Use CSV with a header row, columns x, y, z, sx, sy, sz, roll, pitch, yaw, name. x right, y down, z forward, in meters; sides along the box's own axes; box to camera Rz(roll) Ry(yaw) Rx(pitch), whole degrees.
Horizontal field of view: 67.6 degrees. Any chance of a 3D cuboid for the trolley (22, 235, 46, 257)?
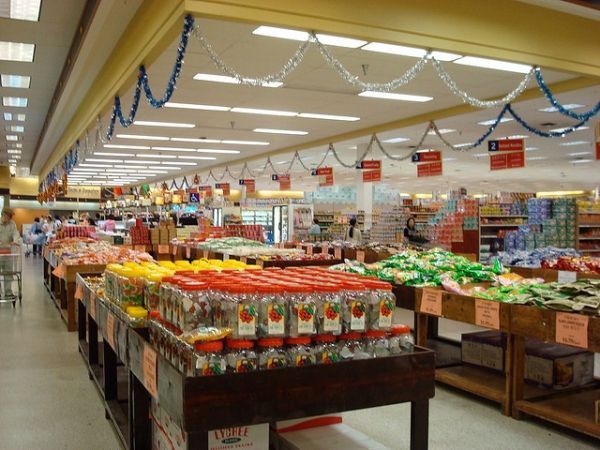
x,y,z,sx,sy,sz,roll,pitch,yaw,name
-11.761,0.914,19.794,0.969,1.375,1.334,2,-5,-22,trolley
